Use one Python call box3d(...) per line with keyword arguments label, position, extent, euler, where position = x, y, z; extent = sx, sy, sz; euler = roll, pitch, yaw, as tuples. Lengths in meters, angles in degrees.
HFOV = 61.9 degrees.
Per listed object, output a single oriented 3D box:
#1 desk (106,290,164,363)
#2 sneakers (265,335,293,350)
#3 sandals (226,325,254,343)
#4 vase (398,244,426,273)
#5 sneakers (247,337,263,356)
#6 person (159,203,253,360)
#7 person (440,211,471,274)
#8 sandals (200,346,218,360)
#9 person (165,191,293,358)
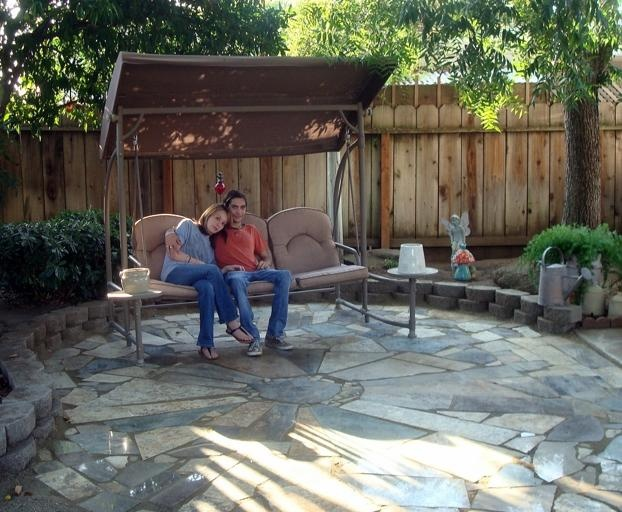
box3d(label="desk", position=(-1.341, 0.503, 4.110), extent=(0.279, 0.323, 0.586), euler=(19, -1, -7))
box3d(label="sneakers", position=(-0.274, 0.745, 4.402), extent=(0.266, 0.124, 0.095), euler=(2, 3, 31))
box3d(label="sandals", position=(-0.578, 0.648, 4.235), extent=(0.203, 0.090, 0.118), euler=(25, 26, 17))
box3d(label="vase", position=(0.912, 0.026, 4.683), extent=(0.216, 0.246, 0.235), euler=(0, 0, 0))
box3d(label="sneakers", position=(-0.450, 0.742, 4.187), extent=(0.124, 0.136, 0.116), euler=(-2, 6, -9))
box3d(label="person", position=(-0.902, 0.188, 4.356), extent=(0.668, 1.217, 0.718), euler=(-3, 7, -19))
box3d(label="person", position=(1.883, -0.203, 6.733), extent=(0.314, 0.742, 1.485), euler=(1, 7, 15))
box3d(label="sandals", position=(-0.814, 0.780, 4.151), extent=(0.063, 0.083, 0.190), euler=(-4, 4, -32))
box3d(label="person", position=(-0.675, 0.090, 4.668), extent=(0.738, 1.832, 0.951), euler=(6, -22, -43))
